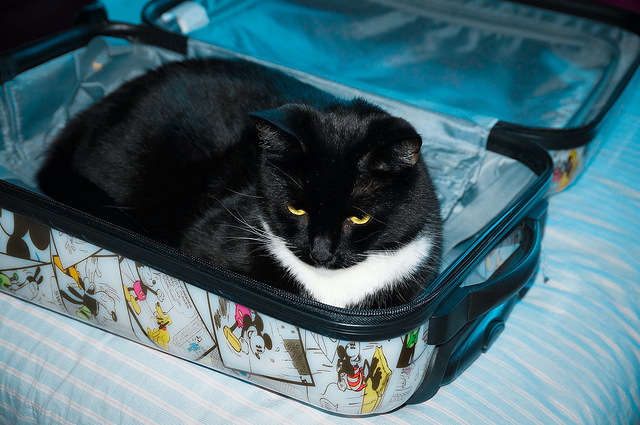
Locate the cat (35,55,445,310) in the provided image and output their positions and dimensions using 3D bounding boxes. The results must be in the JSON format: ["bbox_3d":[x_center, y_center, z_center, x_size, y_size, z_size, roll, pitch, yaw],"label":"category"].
[{"bbox_3d":[-0.158,-0.011,1.570,0.796,0.400,0.506,15,46,16],"label":"cat"}]
